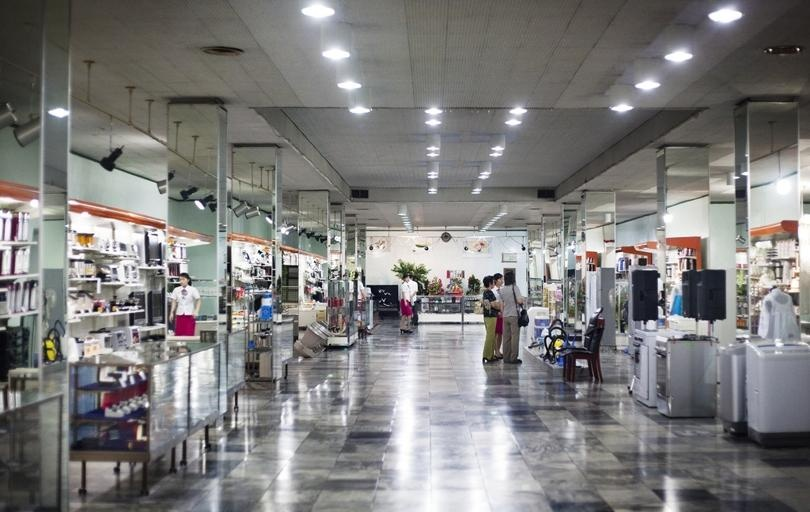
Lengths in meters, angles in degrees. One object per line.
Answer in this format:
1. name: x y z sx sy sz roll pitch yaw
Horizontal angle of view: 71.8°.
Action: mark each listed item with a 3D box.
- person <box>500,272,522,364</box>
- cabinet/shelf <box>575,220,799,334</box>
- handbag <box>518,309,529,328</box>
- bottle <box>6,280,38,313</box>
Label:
1. person: 2.551 1.411 13.452 0.477 2.154 0.857 0 1 11
2. cabinet/shelf: 5.429 0.287 9.264 1.023 1.625 2.911 0 1 3
3. handbag: 2.776 1.439 13.130 0.203 0.423 0.366 0 1 18
4. bottle: -3.598 0.368 5.263 0.246 0.293 0.123 0 1 -35
